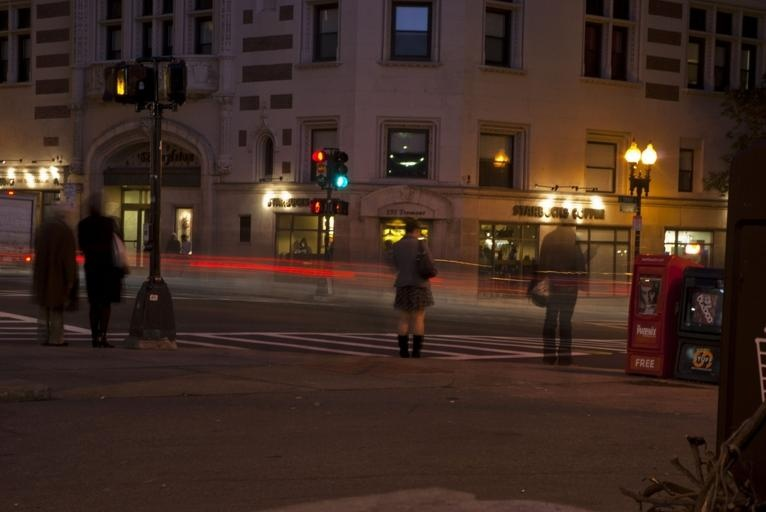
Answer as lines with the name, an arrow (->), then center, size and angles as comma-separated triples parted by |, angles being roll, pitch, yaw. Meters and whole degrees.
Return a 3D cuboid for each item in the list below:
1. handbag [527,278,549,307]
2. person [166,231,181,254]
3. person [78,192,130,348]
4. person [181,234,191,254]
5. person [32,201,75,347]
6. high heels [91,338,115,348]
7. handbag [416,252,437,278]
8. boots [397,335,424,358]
handbag -> 2.935, 0.695, 19.509 | 0.329, 0.448, 0.473 | 1, -8, 4
person -> -8.720, -0.540, 43.260 | 0.552, 0.844, 1.182 | 1, 1, -13
person -> -5.118, 0.359, 19.004 | 0.882, 2.621, 0.885 | 1, 1, -19
person -> -8.291, -0.529, 43.733 | 0.368, 0.821, 0.795 | 1, 1, -24
person -> -5.920, 0.450, 18.761 | 0.786, 2.313, 0.601 | 1, 1, -10
high heels -> -5.064, 1.599, 18.867 | 0.207, 0.179, 0.511 | 1, 1, 19
handbag -> 0.799, 0.199, 18.577 | 0.338, 0.314, 0.233 | 2, 1, 21
boots -> 0.487, 1.652, 18.909 | 0.383, 0.508, 0.445 | 1, -3, -12
